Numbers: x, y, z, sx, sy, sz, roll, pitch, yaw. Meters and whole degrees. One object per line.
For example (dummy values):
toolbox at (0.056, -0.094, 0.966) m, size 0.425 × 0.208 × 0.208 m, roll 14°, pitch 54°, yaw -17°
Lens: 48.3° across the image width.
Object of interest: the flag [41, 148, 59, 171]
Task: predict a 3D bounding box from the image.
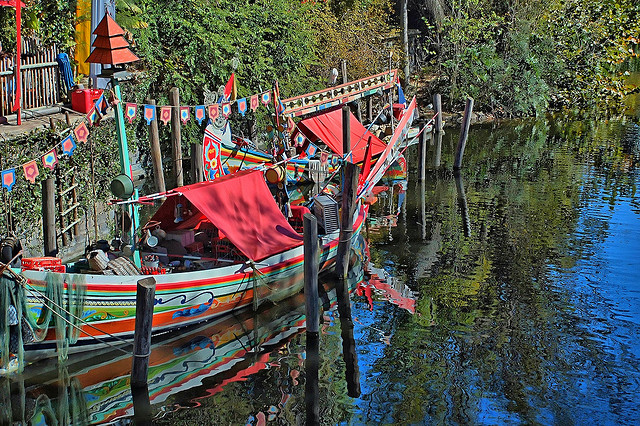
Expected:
flag at (-7.898, -1.570, 20.680) m, size 0.086 × 0.669 × 0.501 m, roll 12°, pitch 31°, yaw 39°

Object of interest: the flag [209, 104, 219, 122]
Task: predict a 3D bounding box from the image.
flag at (-3.632, -3.395, 24.023) m, size 0.440 × 0.647 × 0.083 m, roll -20°, pitch 39°, yaw -32°

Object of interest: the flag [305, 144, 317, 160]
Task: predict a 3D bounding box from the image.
flag at (-0.409, -2.396, 28.012) m, size 0.464 × 0.751 × 0.095 m, roll 16°, pitch -16°, yaw -21°

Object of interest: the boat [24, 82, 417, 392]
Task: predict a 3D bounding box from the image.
boat at (-2.505, 0.345, 23.122) m, size 7.398 × 6.571 × 14.410 m, roll 3°, pitch 9°, yaw 29°

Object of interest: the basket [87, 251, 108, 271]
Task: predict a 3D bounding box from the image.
basket at (-6.075, 1.289, 19.426) m, size 0.508 × 0.505 × 0.220 m, roll 1°, pitch 8°, yaw 15°

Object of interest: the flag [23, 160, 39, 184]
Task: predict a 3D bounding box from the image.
flag at (-8.279, -1.181, 20.256) m, size 0.078 × 0.803 × 0.513 m, roll 22°, pitch 34°, yaw 34°

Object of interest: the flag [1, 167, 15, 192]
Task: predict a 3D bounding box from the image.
flag at (-8.395, -0.885, 19.063) m, size 0.321 × 0.593 × 0.352 m, roll 5°, pitch 10°, yaw 41°
